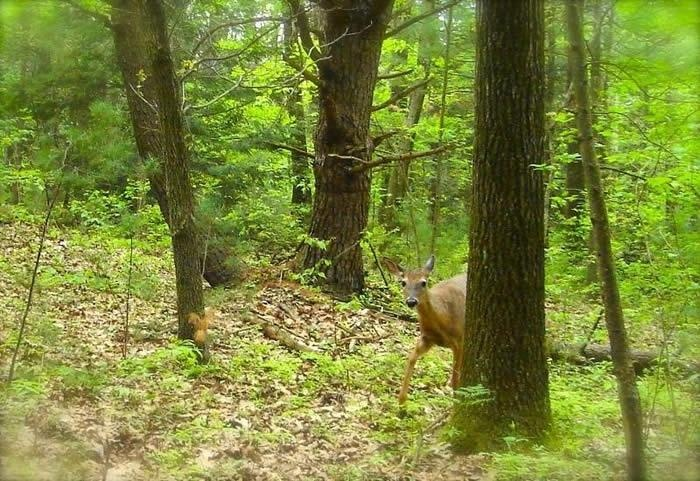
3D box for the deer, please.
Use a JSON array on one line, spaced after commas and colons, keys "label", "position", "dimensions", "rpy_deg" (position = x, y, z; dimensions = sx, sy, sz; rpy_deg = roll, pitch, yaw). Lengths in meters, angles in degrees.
[{"label": "deer", "position": [1.498, 1.590, 12.168], "dimensions": [1.091, 2.251, 2.467], "rpy_deg": [5, 1, 23]}]
